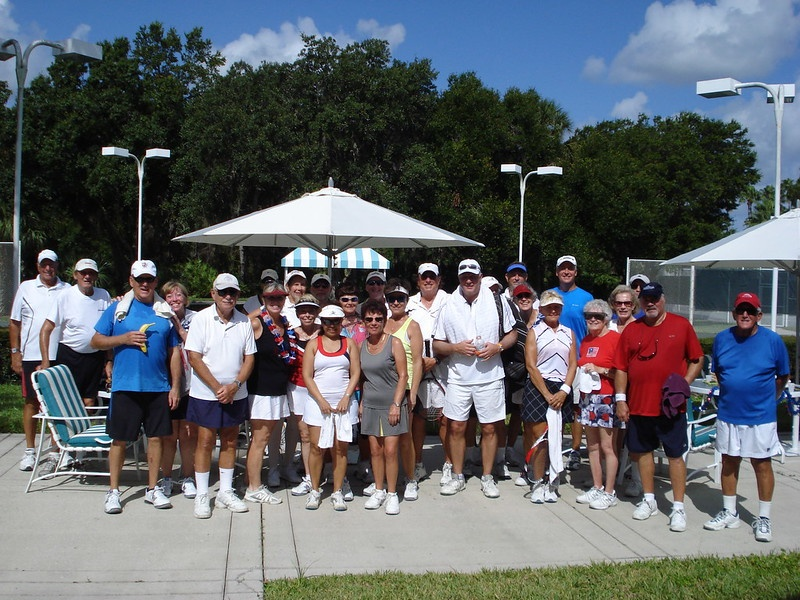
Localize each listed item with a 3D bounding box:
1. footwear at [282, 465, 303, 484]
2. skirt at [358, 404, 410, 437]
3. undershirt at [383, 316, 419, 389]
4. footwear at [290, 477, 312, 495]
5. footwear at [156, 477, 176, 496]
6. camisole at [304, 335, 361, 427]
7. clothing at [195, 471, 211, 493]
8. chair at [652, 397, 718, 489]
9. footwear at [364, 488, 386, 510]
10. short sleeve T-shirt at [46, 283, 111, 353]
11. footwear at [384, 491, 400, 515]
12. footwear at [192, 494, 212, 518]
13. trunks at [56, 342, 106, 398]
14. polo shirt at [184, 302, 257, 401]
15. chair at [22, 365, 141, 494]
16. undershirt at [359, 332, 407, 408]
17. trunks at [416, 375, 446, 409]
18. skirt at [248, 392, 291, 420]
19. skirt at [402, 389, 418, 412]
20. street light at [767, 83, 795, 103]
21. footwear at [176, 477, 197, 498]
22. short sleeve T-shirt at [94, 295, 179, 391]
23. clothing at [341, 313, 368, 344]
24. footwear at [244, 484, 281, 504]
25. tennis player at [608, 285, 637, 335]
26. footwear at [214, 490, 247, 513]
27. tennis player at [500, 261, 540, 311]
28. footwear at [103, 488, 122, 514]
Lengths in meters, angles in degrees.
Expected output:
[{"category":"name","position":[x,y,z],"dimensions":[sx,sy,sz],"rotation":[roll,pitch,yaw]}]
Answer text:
[{"category":"footwear","position":[-1.387,2.292,12.070],"dimensions":[0.373,0.181,0.133],"rotation":[11,9,42]},{"category":"skirt","position":[-0.203,1.508,11.178],"dimensions":[0.558,0.606,0.353],"rotation":[1,-9,3]},{"category":"undershirt","position":[0.110,0.702,11.670],"dimensions":[0.248,0.923,0.420],"rotation":[7,-10,-11]},{"category":"footwear","position":[-1.226,2.373,11.666],"dimensions":[0.134,0.171,0.358],"rotation":[4,-1,20]},{"category":"footwear","position":[-2.895,2.325,11.390],"dimensions":[0.187,0.248,0.544],"rotation":[1,-10,-3]},{"category":"camisole","position":[-0.881,1.148,11.369],"dimensions":[0.766,1.403,0.544],"rotation":[2,-25,-8]},{"category":"clothing","position":[-2.336,2.189,10.962],"dimensions":[0.125,0.241,0.168],"rotation":[-4,14,-21]},{"category":"chair","position":[4.121,1.884,12.561],"dimensions":[0.653,1.227,0.649],"rotation":[8,-9,19]},{"category":"footwear","position":[-0.282,2.467,11.294],"dimensions":[0.142,0.150,0.329],"rotation":[-7,-1,28]},{"category":"short sleeve T-shirt","position":[-4.125,0.262,11.864],"dimensions":[0.406,0.780,0.731],"rotation":[13,5,42]},{"category":"footwear","position":[-0.095,2.489,11.191],"dimensions":[0.183,0.215,0.501],"rotation":[1,-5,-3]},{"category":"footwear","position":[-2.335,2.432,10.976],"dimensions":[0.202,0.255,0.405],"rotation":[-2,14,-12]},{"category":"trunks","position":[-4.163,0.896,11.960],"dimensions":[0.607,0.958,0.482],"rotation":[-5,10,-35]},{"category":"polo shirt","position":[-2.114,0.653,10.988],"dimensions":[1.057,1.407,0.635],"rotation":[2,-1,-28]},{"category":"chair","position":[-4.220,1.618,12.132],"dimensions":[1.437,1.757,1.338],"rotation":[1,2,-5]},{"category":"undershirt","position":[-0.246,0.851,11.393],"dimensions":[0.528,0.948,0.480],"rotation":[-3,2,41]},{"category":"trunks","position":[0.362,1.229,12.080],"dimensions":[0.409,0.647,0.333],"rotation":[0,-7,-5]},{"category":"skirt","position":[-1.568,1.296,11.251],"dimensions":[0.370,0.219,0.294],"rotation":[-7,12,-32]},{"category":"skirt","position":[0.137,1.262,11.482],"dimensions":[0.184,0.260,0.259],"rotation":[3,2,8]},{"category":"street light","position":[6.920,-3.788,16.718],"dimensions":[0.440,0.336,1.767],"rotation":[6,15,21]},{"category":"footwear","position":[-2.625,2.359,11.496],"dimensions":[0.142,0.141,0.304],"rotation":[-1,1,-24]},{"category":"short sleeve T-shirt","position":[-3.055,0.499,11.161],"dimensions":[0.979,1.098,0.563],"rotation":[8,13,15]},{"category":"clothing","position":[-0.583,0.406,12.064],"dimensions":[0.387,0.582,0.307],"rotation":[1,-23,-6]},{"category":"footwear","position":[-1.680,2.388,11.394],"dimensions":[0.493,0.276,0.195],"rotation":[5,-2,0]},{"category":"tennis player","position":[2.957,0.075,12.028],"dimensions":[0.389,0.708,0.410],"rotation":[-5,22,-5]},{"category":"footwear","position":[-2.008,2.417,11.144],"dimensions":[0.456,0.243,0.192],"rotation":[4,6,28]},{"category":"tennis player","position":[1.643,-0.251,13.017],"dimensions":[0.514,0.895,0.655],"rotation":[1,-17,4]},{"category":"footwear","position":[-3.399,2.399,10.962],"dimensions":[0.204,0.238,0.293],"rotation":[-3,14,-18]}]
